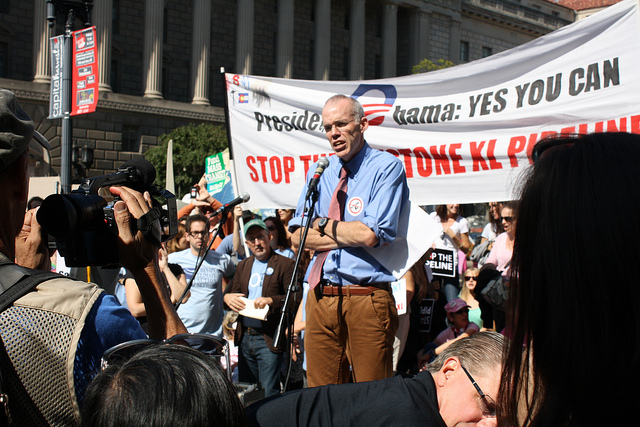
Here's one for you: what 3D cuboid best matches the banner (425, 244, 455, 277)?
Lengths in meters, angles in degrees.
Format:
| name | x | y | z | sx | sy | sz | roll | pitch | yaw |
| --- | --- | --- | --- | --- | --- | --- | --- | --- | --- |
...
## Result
| name | x | y | z | sx | sy | sz | roll | pitch | yaw |
| --- | --- | --- | --- | --- | --- | --- | --- | --- | --- |
| banner | 1.183 | 0.485 | 6.948 | 0.384 | 0.334 | 0.039 | 8 | 6 | 37 |

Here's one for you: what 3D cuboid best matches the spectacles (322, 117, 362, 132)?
| name | x | y | z | sx | sy | sz | roll | pitch | yaw |
| --- | --- | --- | --- | --- | --- | --- | --- | --- | --- |
| spectacles | 0.110 | -0.582 | 4.606 | 0.201 | 0.081 | 0.047 | 6 | 5 | 28 |

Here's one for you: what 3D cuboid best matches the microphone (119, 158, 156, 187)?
| name | x | y | z | sx | sy | sz | roll | pitch | yaw |
| --- | --- | --- | --- | --- | --- | --- | --- | --- | --- |
| microphone | -0.809 | -0.181 | 3.114 | 0.155 | 0.116 | 0.203 | 3 | 4 | -9 |

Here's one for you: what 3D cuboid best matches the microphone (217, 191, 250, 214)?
| name | x | y | z | sx | sy | sz | roll | pitch | yaw |
| --- | --- | --- | --- | --- | --- | --- | --- | --- | --- |
| microphone | -0.674 | -0.079 | 5.815 | 0.120 | 0.142 | 0.673 | -7 | 10 | 17 |

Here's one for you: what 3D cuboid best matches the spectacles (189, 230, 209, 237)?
| name | x | y | z | sx | sy | sz | roll | pitch | yaw |
| --- | --- | --- | --- | --- | --- | --- | --- | --- | --- |
| spectacles | -1.158 | 0.193 | 6.631 | 0.071 | 0.075 | 0.253 | -1 | 6 | -44 |

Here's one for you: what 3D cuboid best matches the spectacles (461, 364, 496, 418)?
| name | x | y | z | sx | sy | sz | roll | pitch | yaw |
| --- | --- | --- | --- | --- | --- | --- | --- | --- | --- |
| spectacles | 0.608 | 0.692 | 2.663 | 0.111 | 0.033 | 0.110 | 52 | -6 | 37 |

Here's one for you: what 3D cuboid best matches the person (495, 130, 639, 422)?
| name | x | y | z | sx | sy | sz | roll | pitch | yaw |
| --- | --- | --- | --- | --- | --- | --- | --- | --- | --- |
| person | 0.766 | 0.212 | 2.102 | 0.403 | 0.920 | 0.162 | 4 | 4 | 20 |

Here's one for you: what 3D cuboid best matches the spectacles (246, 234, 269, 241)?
| name | x | y | z | sx | sy | sz | roll | pitch | yaw |
| --- | --- | --- | --- | --- | --- | --- | --- | --- | --- |
| spectacles | -0.588 | 0.231 | 6.543 | 0.162 | 0.063 | 0.047 | 3 | 4 | -11 |

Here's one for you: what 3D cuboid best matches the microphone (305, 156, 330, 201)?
| name | x | y | z | sx | sy | sz | roll | pitch | yaw |
| --- | --- | --- | --- | --- | --- | --- | --- | --- | --- |
| microphone | -0.015 | -0.259 | 4.677 | 0.089 | 0.390 | 0.087 | 41 | -37 | -23 |
